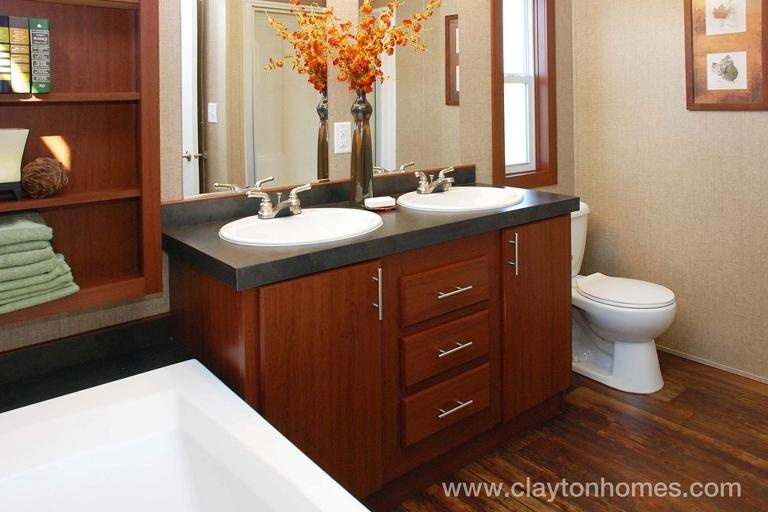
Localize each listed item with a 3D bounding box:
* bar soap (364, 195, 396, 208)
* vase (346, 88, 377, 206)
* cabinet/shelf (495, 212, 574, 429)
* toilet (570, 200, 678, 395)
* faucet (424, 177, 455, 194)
[{"bbox_3d":[-0.020,-0.249,2.570,0.145,0.045,0.138,-3,15,-2],"label":"bar soap"},{"bbox_3d":[-0.113,-0.532,2.673,0.124,0.521,0.240,-4,16,0],"label":"vase"},{"bbox_3d":[0.747,0.289,2.703,0.568,0.902,0.165,-18,21,-40],"label":"cabinet/shelf"},{"bbox_3d":[1.361,0.244,3.202,0.608,0.959,0.441,9,21,37],"label":"toilet"},{"bbox_3d":[0.292,-0.366,2.841,0.092,0.044,0.130,7,20,44],"label":"faucet"}]
